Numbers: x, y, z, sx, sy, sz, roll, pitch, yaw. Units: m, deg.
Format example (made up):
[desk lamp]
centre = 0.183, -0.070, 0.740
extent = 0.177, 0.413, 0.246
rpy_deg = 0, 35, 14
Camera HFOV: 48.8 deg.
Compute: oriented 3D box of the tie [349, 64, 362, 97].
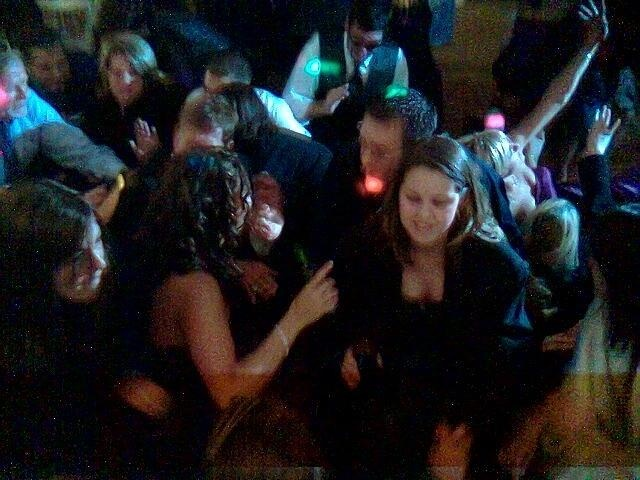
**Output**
[tie]
centre = 0.190, -0.852, 3.791
extent = 0.067, 0.151, 0.063
rpy_deg = -15, 34, -38
